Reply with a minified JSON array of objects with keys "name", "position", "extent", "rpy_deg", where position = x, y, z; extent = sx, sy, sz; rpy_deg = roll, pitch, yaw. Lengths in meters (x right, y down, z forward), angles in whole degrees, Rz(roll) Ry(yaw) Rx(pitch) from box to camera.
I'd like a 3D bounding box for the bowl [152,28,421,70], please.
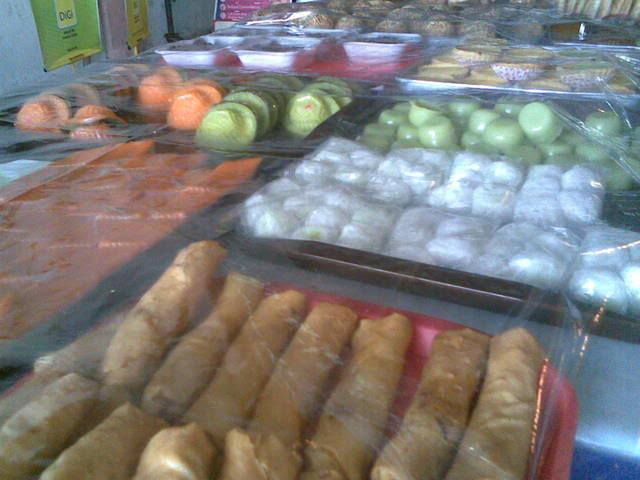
[{"name":"bowl","position":[-0.090,-0.546,1.043],"extent":[0.744,0.100,0.227],"rpy_deg":[6,34,5]}]
